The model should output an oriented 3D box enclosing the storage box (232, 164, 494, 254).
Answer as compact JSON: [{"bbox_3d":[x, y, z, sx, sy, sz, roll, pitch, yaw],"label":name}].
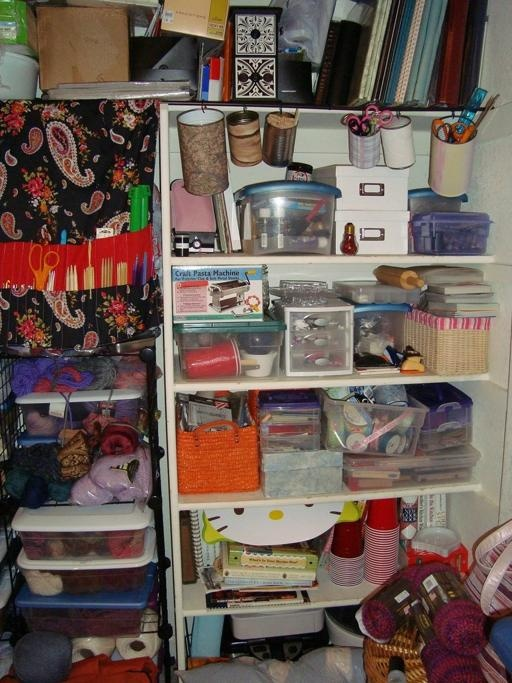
[{"bbox_3d":[0.289,-0.364,1.595,0.673,0.259,0.236,-6,17,-9],"label":"storage box"}]

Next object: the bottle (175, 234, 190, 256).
[{"bbox_3d":[-0.193,-0.254,1.481,0.037,0.054,0.076,-6,17,-8],"label":"bottle"}]

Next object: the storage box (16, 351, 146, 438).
[{"bbox_3d":[-0.490,0.139,1.607,0.331,0.145,0.218,-1,4,-15],"label":"storage box"}]

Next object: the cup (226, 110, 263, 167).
[{"bbox_3d":[-0.025,-0.561,1.534,0.111,0.118,0.108,-1,60,1],"label":"cup"}]

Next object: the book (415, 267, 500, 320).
[{"bbox_3d":[0.573,-0.143,1.619,0.190,0.121,0.151,-2,17,4],"label":"book"}]

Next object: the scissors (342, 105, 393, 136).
[{"bbox_3d":[0.297,-0.596,1.521,0.134,0.086,0.094,1,18,12],"label":"scissors"}]

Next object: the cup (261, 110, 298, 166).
[{"bbox_3d":[0.065,-0.558,1.561,0.086,0.128,0.078,14,54,6],"label":"cup"}]

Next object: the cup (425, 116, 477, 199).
[{"bbox_3d":[0.533,-0.513,1.539,0.114,0.179,0.122,-6,50,7],"label":"cup"}]

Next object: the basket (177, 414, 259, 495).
[{"bbox_3d":[-0.090,0.329,1.693,0.316,0.274,0.191,-1,19,-1],"label":"basket"}]

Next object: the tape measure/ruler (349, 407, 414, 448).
[{"bbox_3d":[0.351,0.238,1.613,0.148,0.039,0.044,-31,27,1],"label":"tape measure/ruler"}]

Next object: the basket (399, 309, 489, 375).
[{"bbox_3d":[0.593,-0.024,1.682,0.222,0.125,0.210,-2,11,-21],"label":"basket"}]

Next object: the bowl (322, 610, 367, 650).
[{"bbox_3d":[0.294,0.918,1.810,0.093,0.096,0.112,1,-14,3],"label":"bowl"}]

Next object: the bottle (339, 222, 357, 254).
[{"bbox_3d":[0.254,-0.282,1.555,0.045,0.087,0.061,0,17,9],"label":"bottle"}]

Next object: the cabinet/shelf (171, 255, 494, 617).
[{"bbox_3d":[0.217,0.262,1.933,1.181,0.771,0.623,-2,18,-6],"label":"cabinet/shelf"}]

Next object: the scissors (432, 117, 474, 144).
[{"bbox_3d":[0.521,-0.555,1.493,0.085,0.043,0.088,7,-3,-4],"label":"scissors"}]

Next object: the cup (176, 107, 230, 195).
[{"bbox_3d":[-0.134,-0.487,1.460,0.126,0.184,0.115,-2,40,1],"label":"cup"}]

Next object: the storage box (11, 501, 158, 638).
[{"bbox_3d":[-0.467,0.665,1.788,0.472,0.415,0.376,0,10,-3],"label":"storage box"}]

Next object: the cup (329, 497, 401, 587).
[{"bbox_3d":[0.316,0.619,1.861,0.191,0.301,0.311,0,19,1],"label":"cup"}]

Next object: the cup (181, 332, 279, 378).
[{"bbox_3d":[-0.062,0.019,1.535,0.213,0.093,0.138,-4,3,-8],"label":"cup"}]
